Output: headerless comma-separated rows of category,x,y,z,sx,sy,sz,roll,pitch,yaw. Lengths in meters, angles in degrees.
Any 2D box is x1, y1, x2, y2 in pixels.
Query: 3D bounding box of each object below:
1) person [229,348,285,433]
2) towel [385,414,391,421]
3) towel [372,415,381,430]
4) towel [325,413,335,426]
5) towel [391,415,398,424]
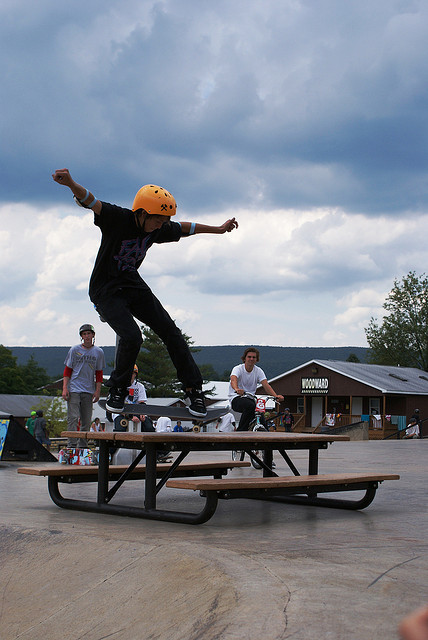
person,0.520,0.929,7.578,0.642,1.155,1.691,1,-7,4
towel,12.918,7.167,41.870,0.317,0.437,0.238,-7,-7,-8
towel,12.221,7.574,42.300,0.466,1.049,0.753,2,-7,-1
towel,8.960,7.640,43.705,0.487,0.873,1.609,2,-7,-9
towel,13.408,7.341,41.856,0.644,0.589,0.341,6,4,31
